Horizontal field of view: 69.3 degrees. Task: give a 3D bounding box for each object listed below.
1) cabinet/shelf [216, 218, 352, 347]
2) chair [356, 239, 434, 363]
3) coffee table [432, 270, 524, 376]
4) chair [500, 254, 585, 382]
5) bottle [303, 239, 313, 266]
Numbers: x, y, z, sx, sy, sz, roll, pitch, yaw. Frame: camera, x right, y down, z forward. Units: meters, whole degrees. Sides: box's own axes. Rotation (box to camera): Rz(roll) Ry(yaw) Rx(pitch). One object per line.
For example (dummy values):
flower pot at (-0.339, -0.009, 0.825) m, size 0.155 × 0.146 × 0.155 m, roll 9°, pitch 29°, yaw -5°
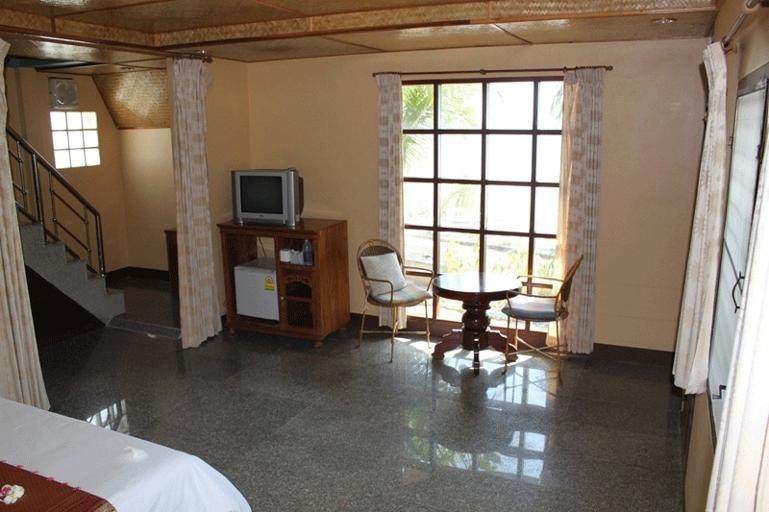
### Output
cabinet/shelf at (-1.204, 0.341, 6.729) m, size 1.442 × 1.333 × 0.778 m, roll 3°, pitch 11°, yaw 19°
chair at (0.088, 0.457, 6.461) m, size 0.786 × 1.152 × 0.785 m, roll -8°, pitch 15°, yaw -35°
coffee table at (0.992, 0.750, 6.134) m, size 0.895 × 0.786 × 0.891 m, roll 1°, pitch 3°, yaw 29°
chair at (1.679, 0.542, 6.103) m, size 0.808 × 1.134 × 0.774 m, roll 0°, pitch 10°, yaw 7°
bottle at (-0.905, -0.043, 6.567) m, size 0.106 × 0.269 × 0.168 m, roll -4°, pitch 15°, yaw -18°
